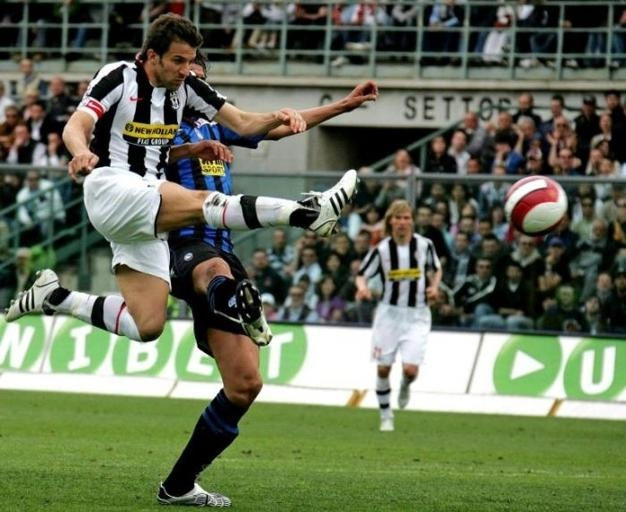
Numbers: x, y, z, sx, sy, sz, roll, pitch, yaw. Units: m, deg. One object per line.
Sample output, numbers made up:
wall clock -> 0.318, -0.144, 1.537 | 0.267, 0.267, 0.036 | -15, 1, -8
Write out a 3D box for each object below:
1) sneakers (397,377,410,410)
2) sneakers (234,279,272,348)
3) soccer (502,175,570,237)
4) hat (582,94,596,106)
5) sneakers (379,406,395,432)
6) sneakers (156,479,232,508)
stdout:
sneakers -> 0.925, 1.312, 9.726 | 0.108, 0.336, 0.133 | 8, 24, 11
sneakers -> -0.362, 0.361, 6.610 | 0.176, 0.472, 0.204 | -18, -3, -20
soccer -> 2.071, -0.431, 9.146 | 0.551, 0.626, 0.565 | 3, 17, 15
hat -> 2.441, -1.326, 8.661 | 0.068, 0.087, 0.090 | 6, 16, 11
sneakers -> 0.734, 1.491, 9.310 | 0.150, 0.189, 0.296 | 6, 5, 5
sneakers -> -0.760, 1.549, 6.642 | 0.528, 0.183, 0.179 | 1, -9, -1
